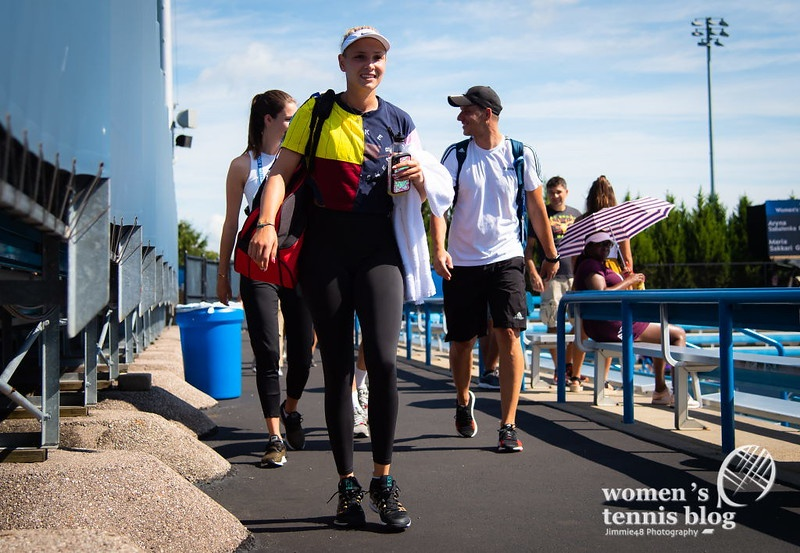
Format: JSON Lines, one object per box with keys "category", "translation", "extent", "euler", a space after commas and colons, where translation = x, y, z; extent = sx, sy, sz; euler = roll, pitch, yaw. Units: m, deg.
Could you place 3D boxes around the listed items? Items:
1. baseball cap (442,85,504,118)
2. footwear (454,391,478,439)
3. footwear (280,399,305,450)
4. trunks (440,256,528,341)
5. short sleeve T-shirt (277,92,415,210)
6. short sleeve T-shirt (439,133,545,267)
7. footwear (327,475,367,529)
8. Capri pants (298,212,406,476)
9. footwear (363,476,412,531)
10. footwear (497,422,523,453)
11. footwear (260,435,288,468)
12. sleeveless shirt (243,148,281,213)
{"category": "baseball cap", "translation": [0.556, -1.332, 5.685], "extent": [0.382, 0.140, 0.287], "euler": [1, 0, 4]}
{"category": "footwear", "translation": [0.507, 1.117, 5.895], "extent": [0.130, 0.390, 0.145], "euler": [-22, -41, 32]}
{"category": "footwear", "translation": [-0.794, 1.121, 5.557], "extent": [0.133, 0.421, 0.150], "euler": [-11, -3, -32]}
{"category": "trunks", "translation": [0.670, 0.183, 5.816], "extent": [0.645, 0.670, 0.392], "euler": [-6, -19, 11]}
{"category": "short sleeve T-shirt", "translation": [-0.304, -0.649, 4.139], "extent": [0.779, 0.693, 0.328], "euler": [4, -10, -12]}
{"category": "short sleeve T-shirt", "translation": [0.652, -0.556, 5.597], "extent": [0.846, 1.154, 0.417], "euler": [0, -6, 2]}
{"category": "footwear", "translation": [-0.271, 1.224, 4.162], "extent": [0.157, 0.216, 0.448], "euler": [-3, -2, -4]}
{"category": "Capri pants", "translation": [-0.263, 0.354, 4.117], "extent": [0.511, 1.074, 0.185], "euler": [1, 0, -10]}
{"category": "footwear", "translation": [-0.054, 1.209, 4.073], "extent": [0.227, 0.204, 0.142], "euler": [1, 0, -1]}
{"category": "footwear", "translation": [0.783, 1.155, 5.397], "extent": [0.172, 0.192, 0.110], "euler": [1, 0, 8]}
{"category": "footwear", "translation": [-0.869, 1.225, 5.284], "extent": [0.095, 0.124, 0.262], "euler": [-1, -8, 3]}
{"category": "sleeveless shirt", "translation": [-0.979, -0.641, 5.478], "extent": [0.148, 0.309, 0.199], "euler": [-15, 32, -3]}
